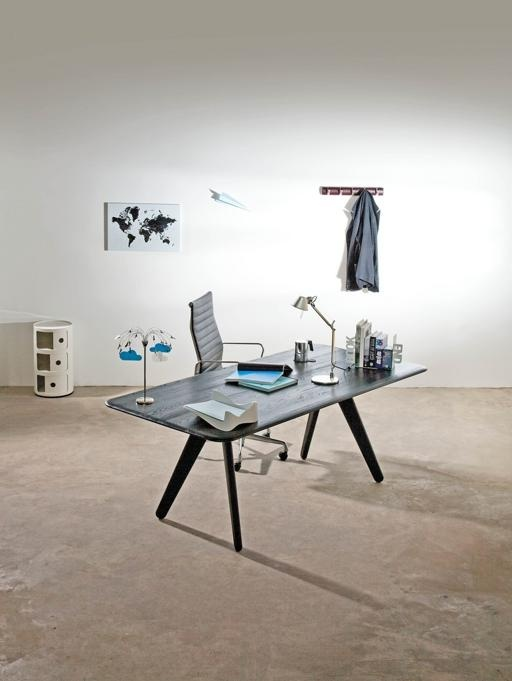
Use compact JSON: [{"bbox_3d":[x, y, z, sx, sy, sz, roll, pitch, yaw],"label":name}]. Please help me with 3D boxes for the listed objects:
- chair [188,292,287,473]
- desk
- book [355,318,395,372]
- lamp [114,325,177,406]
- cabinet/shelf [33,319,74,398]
[{"bbox_3d":[-0.090,0.260,3.650,0.588,1.053,0.625,4,14,15],"label":"chair"},{"bbox_3d":[0.065,0.515,2.800,0.857,0.723,1.532,7,10,42],"label":"desk"},{"bbox_3d":[0.690,0.016,3.178,0.256,0.338,0.244,3,10,21],"label":"book"},{"bbox_3d":[-0.740,0.170,3.690,0.385,0.499,0.424,-5,-6,43],"label":"lamp"},{"bbox_3d":[-1.798,0.184,4.899,0.329,0.645,0.243,-2,8,-22],"label":"cabinet/shelf"}]
